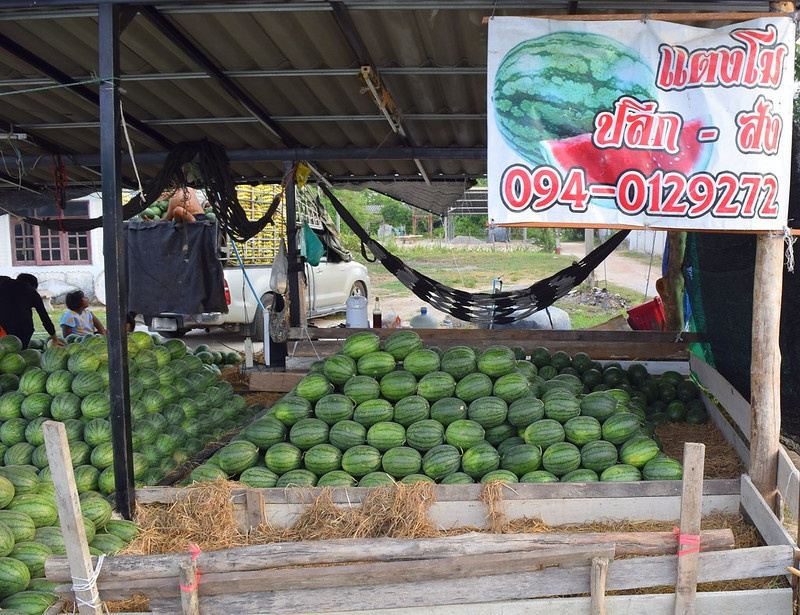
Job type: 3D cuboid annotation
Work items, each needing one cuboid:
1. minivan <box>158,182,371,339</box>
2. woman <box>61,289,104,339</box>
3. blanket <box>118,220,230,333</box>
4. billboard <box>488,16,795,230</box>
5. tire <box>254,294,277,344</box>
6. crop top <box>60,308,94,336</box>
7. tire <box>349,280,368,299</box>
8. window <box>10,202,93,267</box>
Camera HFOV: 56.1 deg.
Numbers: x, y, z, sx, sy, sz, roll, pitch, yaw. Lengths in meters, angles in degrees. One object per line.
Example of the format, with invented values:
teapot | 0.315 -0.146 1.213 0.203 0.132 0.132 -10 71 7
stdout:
minivan | -2.397 -0.665 11.975 1.760 1.882 4.188 5 14 31
woman | -3.538 0.108 8.412 0.502 0.581 0.467 -6 1 -30
blanket | -2.947 -0.405 9.517 1.723 1.370 0.284 0 0 15
billboard | 1.468 -1.130 4.479 1.376 0.913 0.058 0 -1 -1
tire | -1.757 0.120 9.787 0.231 0.657 0.686 0 8 10
crop top | -3.575 0.166 8.325 0.397 0.261 0.222 -2 6 -30
tire | -0.761 -0.344 13.558 0.106 0.305 0.321 -12 -11 34
window | -6.953 -1.395 14.900 1.578 1.398 0.074 -1 0 -8
